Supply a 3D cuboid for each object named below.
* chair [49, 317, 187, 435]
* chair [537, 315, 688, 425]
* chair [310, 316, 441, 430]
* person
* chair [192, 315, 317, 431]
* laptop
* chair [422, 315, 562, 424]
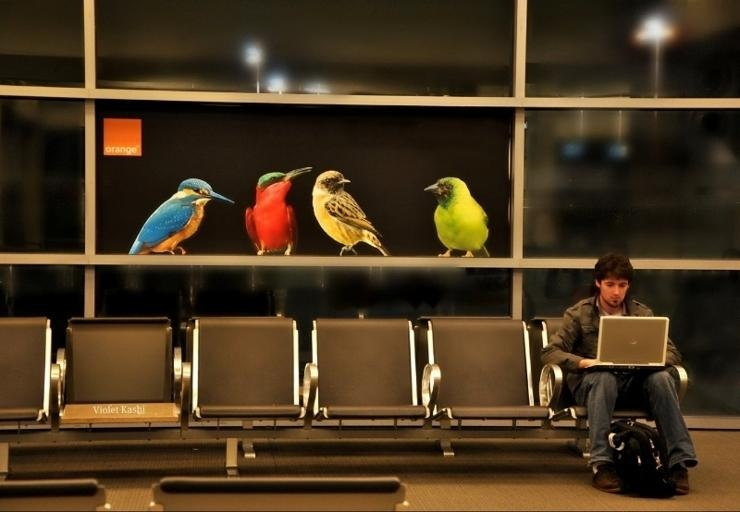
[{"bbox_3d":[-2.314,1.006,10.927,1.132,0.961,0.606,2,3,-24],"label":"chair"},{"bbox_3d":[2.091,1.106,11.078,1.176,1.008,0.877,3,-5,-13],"label":"chair"},{"bbox_3d":[-0.011,1.044,10.925,1.056,0.924,0.795,1,2,-8],"label":"chair"},{"bbox_3d":[2.303,1.033,10.848,1.221,2.209,1.490,8,-14,-13],"label":"person"},{"bbox_3d":[-1.111,1.094,10.940,1.037,1.042,0.901,1,2,-8],"label":"chair"},{"bbox_3d":[2.499,0.826,10.657,0.568,0.484,0.719,19,-15,-34],"label":"laptop"},{"bbox_3d":[1.045,1.030,11.090,1.236,1.039,0.965,1,-3,-10],"label":"chair"}]
